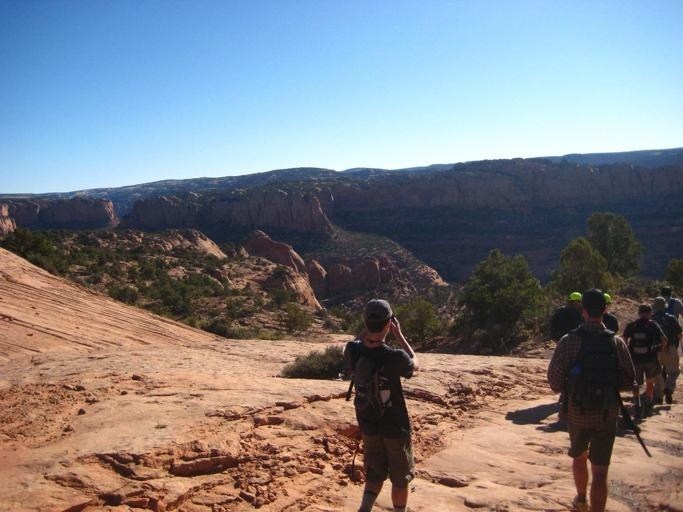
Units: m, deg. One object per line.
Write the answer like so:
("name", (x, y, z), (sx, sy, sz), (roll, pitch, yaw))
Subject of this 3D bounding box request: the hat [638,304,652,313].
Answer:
("hat", (5.304, 0.924, 10.150), (0.170, 0.128, 0.179), (-6, -7, 34))

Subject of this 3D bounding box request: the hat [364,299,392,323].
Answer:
("hat", (0.451, 0.670, 7.072), (0.329, 0.261, 0.292), (-3, -3, 4))

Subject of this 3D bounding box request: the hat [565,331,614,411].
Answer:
("hat", (3.147, 1.415, 7.268), (0.580, 0.653, 0.212), (-4, -3, 20))
